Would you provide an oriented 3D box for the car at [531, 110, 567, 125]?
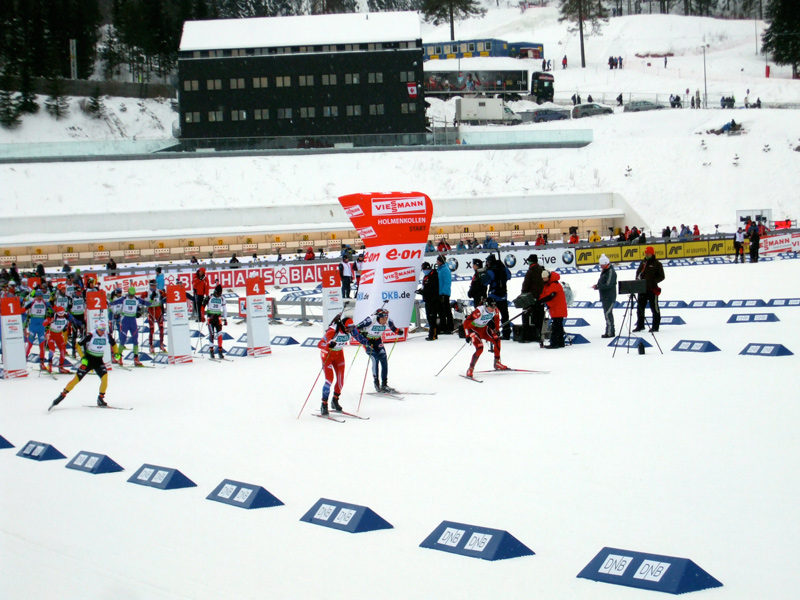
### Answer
[{"bbox_3d":[11.714,-14.404,81.338,2.211,0.991,1.321,-5,13,-5],"label":"car"}]

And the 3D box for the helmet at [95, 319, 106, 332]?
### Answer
[{"bbox_3d":[-6.328,0.552,21.959,0.168,0.235,0.224,1,0,-39],"label":"helmet"}]

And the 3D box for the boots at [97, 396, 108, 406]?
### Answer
[{"bbox_3d":[-6.320,2.140,22.037,0.238,0.283,0.131,1,4,-10],"label":"boots"}]

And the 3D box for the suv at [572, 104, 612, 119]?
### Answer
[{"bbox_3d":[14.973,-14.792,81.151,2.515,1.338,1.656,-3,14,3],"label":"suv"}]

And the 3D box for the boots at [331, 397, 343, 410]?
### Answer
[{"bbox_3d":[-1.279,2.023,20.792,0.187,0.262,0.567,-3,12,-4],"label":"boots"}]

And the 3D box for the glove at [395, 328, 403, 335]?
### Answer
[{"bbox_3d":[-0.023,0.765,26.284,0.190,0.114,0.283,3,5,-8],"label":"glove"}]

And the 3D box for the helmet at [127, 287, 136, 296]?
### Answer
[{"bbox_3d":[-6.931,-0.221,26.791,0.169,0.251,0.250,0,9,-7],"label":"helmet"}]

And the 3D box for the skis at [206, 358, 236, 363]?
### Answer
[{"bbox_3d":[-4.708,1.577,27.319,0.078,0.092,0.721,9,-5,-39],"label":"skis"}]

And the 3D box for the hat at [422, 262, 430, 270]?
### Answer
[{"bbox_3d":[0.678,-0.909,27.771,0.133,0.226,0.157,-3,-4,4],"label":"hat"}]

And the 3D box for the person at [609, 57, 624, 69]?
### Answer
[{"bbox_3d":[22.456,-24.760,108.739,1.228,1.226,2.430,1,12,15],"label":"person"}]

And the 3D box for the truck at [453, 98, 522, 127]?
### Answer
[{"bbox_3d":[6.635,-14.243,79.196,4.777,2.845,3.067,-3,8,-14],"label":"truck"}]

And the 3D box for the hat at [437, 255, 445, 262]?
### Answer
[{"bbox_3d":[1.089,-1.103,27.673,0.124,0.207,0.090,1,0,-12],"label":"hat"}]

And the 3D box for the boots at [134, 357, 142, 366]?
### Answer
[{"bbox_3d":[-6.823,1.592,27.000,0.128,0.180,0.264,7,25,-18],"label":"boots"}]

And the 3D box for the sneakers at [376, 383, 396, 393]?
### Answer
[{"bbox_3d":[-0.298,1.843,22.023,0.439,0.231,0.164,0,4,17],"label":"sneakers"}]

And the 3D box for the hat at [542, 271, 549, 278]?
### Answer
[{"bbox_3d":[3.537,-0.598,25.381,0.116,0.202,0.161,-5,15,3],"label":"hat"}]

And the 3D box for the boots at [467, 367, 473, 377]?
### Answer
[{"bbox_3d":[1.541,1.561,22.985,0.105,0.205,0.284,-1,11,5],"label":"boots"}]
